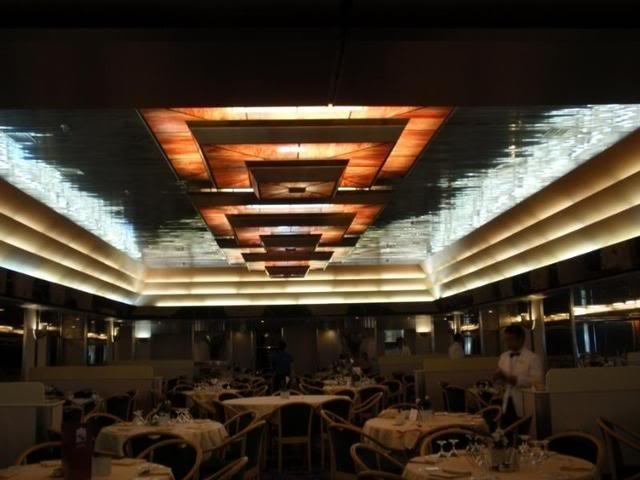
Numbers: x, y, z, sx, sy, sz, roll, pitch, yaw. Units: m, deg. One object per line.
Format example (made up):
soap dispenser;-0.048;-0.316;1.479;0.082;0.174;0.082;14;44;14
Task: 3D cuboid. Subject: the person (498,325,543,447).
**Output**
person;2.878;1.957;8.133;0.591;1.438;0.607;-3;-12;17

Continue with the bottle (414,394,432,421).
bottle;1.443;2.334;7.799;0.206;0.268;0.446;-2;-11;11
